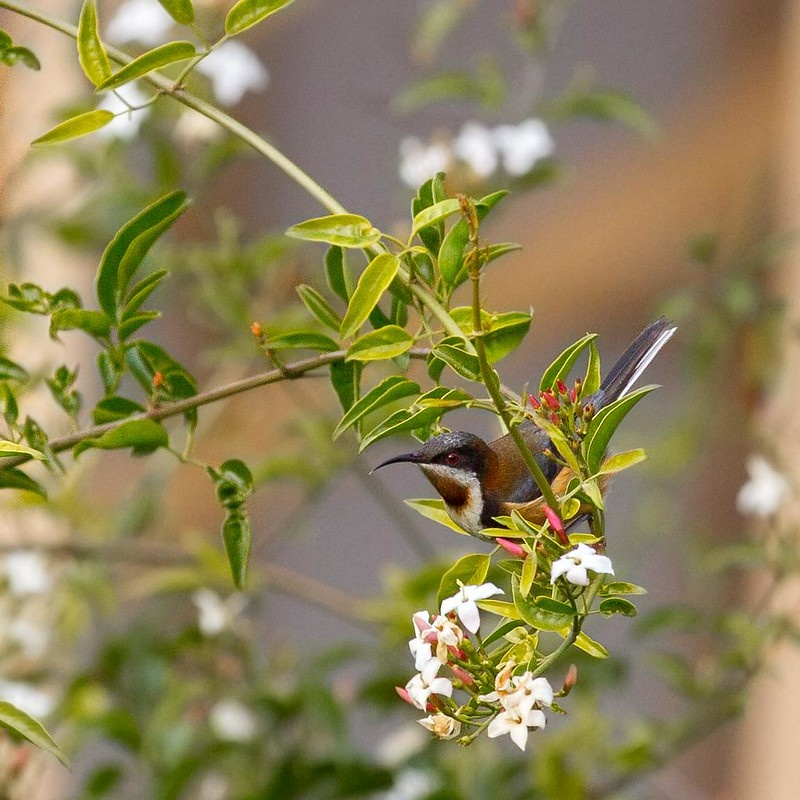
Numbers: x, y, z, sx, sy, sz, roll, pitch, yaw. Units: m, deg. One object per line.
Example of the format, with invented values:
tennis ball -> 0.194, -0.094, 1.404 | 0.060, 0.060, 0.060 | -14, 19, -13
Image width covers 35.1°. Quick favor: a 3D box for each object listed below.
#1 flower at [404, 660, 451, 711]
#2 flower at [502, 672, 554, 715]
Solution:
flower -> 0.029, 0.340, 1.495 | 0.053, 0.058, 0.016 | -7, -35, 22
flower -> 0.147, 0.344, 1.482 | 0.046, 0.048, 0.023 | -3, -26, 12
